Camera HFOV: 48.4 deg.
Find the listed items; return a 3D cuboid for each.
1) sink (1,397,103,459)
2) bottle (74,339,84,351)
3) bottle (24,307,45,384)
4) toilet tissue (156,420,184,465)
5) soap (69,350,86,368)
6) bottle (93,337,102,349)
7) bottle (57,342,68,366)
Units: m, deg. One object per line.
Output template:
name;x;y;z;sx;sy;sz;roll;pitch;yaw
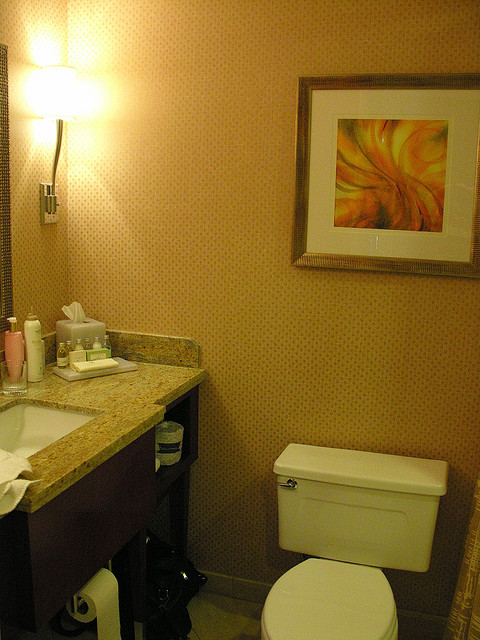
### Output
sink;-0.539;0.298;1.455;0.183;0.104;0.162;12;20;30
bottle;-0.549;0.083;1.800;0.025;0.067;0.030;1;0;3
bottle;-0.640;0.092;1.650;0.060;0.217;0.211;-1;11;-22
toilet tissue;-0.235;0.408;1.804;0.080;0.132;0.115;0;12;-1
soap;-0.543;0.129;1.769;0.013;0.053;0.041;2;4;44
bottle;-0.501;0.082;1.855;0.025;0.068;0.031;1;10;-7
bottle;-0.605;0.115;1.809;0.032;0.070;0.080;1;10;-13
